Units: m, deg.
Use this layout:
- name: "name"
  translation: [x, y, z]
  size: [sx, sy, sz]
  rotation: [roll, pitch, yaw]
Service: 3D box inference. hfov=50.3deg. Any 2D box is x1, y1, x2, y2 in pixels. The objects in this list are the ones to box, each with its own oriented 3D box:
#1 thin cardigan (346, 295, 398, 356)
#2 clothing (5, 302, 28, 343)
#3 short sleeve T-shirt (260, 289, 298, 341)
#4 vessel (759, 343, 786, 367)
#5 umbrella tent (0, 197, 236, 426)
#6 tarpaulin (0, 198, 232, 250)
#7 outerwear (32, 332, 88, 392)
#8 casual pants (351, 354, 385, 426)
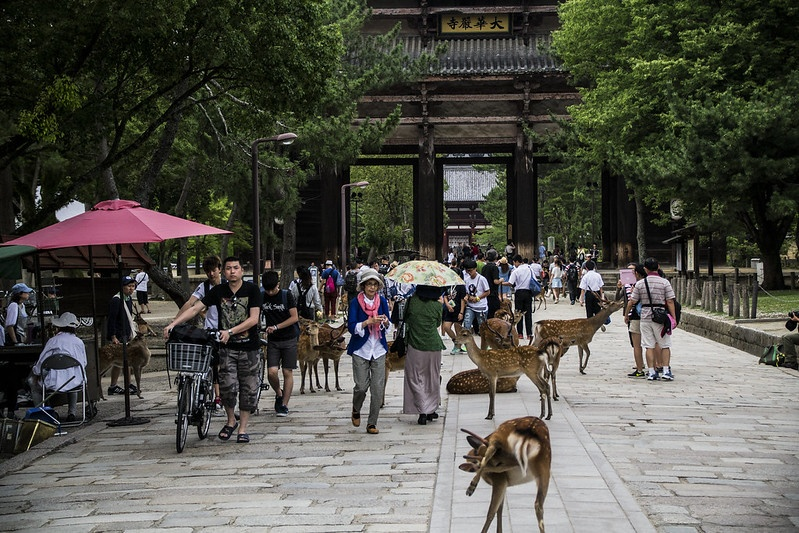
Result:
- name: "thin cardigan"
  translation: [-0.642, 1.143, 15.314]
  size: [0.969, 1.444, 0.939]
  rotation: [2, -8, -15]
- name: "clothing"
  translation: [-9.039, 1.370, 20.091]
  size: [0.494, 0.944, 0.859]
  rotation: [0, 3, 1]
- name: "short sleeve T-shirt"
  translation: [-2.289, 0.942, 16.224]
  size: [0.919, 1.185, 0.633]
  rotation: [-3, 0, -1]
- name: "vessel"
  translation: [8.885, 2.136, 20.227]
  size: [0.549, 0.429, 0.314]
  rotation: [-2, 0, 34]
- name: "umbrella tent"
  translation: [-5.389, 0.809, 17.388]
  size: [4.040, 3.817, 4.104]
  rotation: [-1, -4, -10]
- name: "tarpaulin"
  translation: [-7.892, -1.254, 23.531]
  size: [3.716, 0.710, 3.869]
  rotation: [-3, 5, 4]
- name: "outerwear"
  translation: [-6.269, 1.775, 16.179]
  size: [0.784, 1.189, 1.133]
  rotation: [2, 15, -15]
- name: "casual pants"
  translation: [-0.536, 2.236, 15.253]
  size: [0.593, 1.273, 0.408]
  rotation: [-2, 0, -5]
